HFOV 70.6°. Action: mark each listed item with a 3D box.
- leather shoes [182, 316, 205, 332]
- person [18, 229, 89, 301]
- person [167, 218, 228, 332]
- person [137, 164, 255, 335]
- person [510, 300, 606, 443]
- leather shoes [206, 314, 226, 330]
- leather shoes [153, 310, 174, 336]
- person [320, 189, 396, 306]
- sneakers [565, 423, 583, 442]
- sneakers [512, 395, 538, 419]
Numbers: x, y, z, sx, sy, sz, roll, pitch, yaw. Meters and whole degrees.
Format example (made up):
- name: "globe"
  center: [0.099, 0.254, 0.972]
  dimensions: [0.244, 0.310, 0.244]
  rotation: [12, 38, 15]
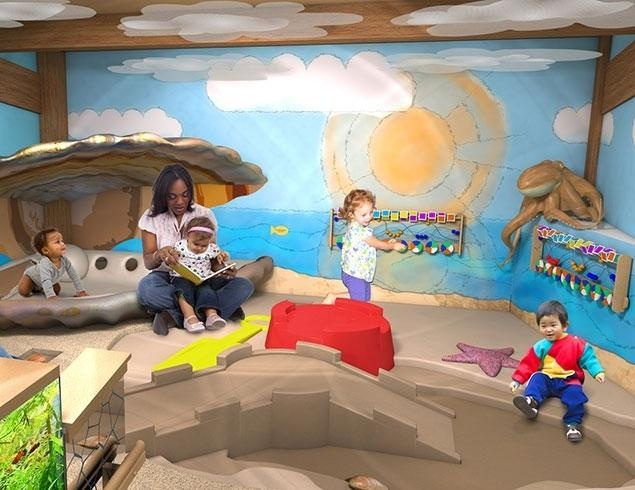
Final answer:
- name: "leather shoes"
  center: [-1.154, 0.742, 4.180]
  dimensions: [0.198, 0.067, 0.121]
  rotation: [6, 8, 43]
- name: "person"
  center: [-2.689, 0.198, 4.527]
  dimensions: [0.470, 0.722, 0.447]
  rotation: [7, 9, 34]
- name: "person"
  center: [-1.160, 0.267, 4.347]
  dimensions: [0.518, 1.076, 0.531]
  rotation: [-1, 8, -18]
- name: "person"
  center: [-1.265, 0.034, 4.397]
  dimensions: [1.171, 1.309, 1.284]
  rotation: [-7, 28, -38]
- name: "person"
  center: [1.790, 0.924, 3.362]
  dimensions: [0.598, 0.971, 0.344]
  rotation: [5, 8, 25]
- name: "leather shoes"
  center: [-0.980, 0.739, 4.232]
  dimensions: [0.119, 0.079, 0.193]
  rotation: [-2, 2, 2]
- name: "leather shoes"
  center: [-1.460, 0.737, 4.177]
  dimensions: [0.109, 0.110, 0.293]
  rotation: [3, 8, 0]
- name: "person"
  center: [0.473, 0.011, 4.619]
  dimensions: [0.631, 1.142, 0.323]
  rotation: [4, 8, 18]
- name: "sneakers"
  center: [1.861, 1.374, 3.262]
  dimensions: [0.078, 0.070, 0.183]
  rotation: [-2, -4, 8]
- name: "sneakers"
  center: [1.579, 1.233, 3.404]
  dimensions: [0.163, 0.210, 0.186]
  rotation: [6, 8, 30]
